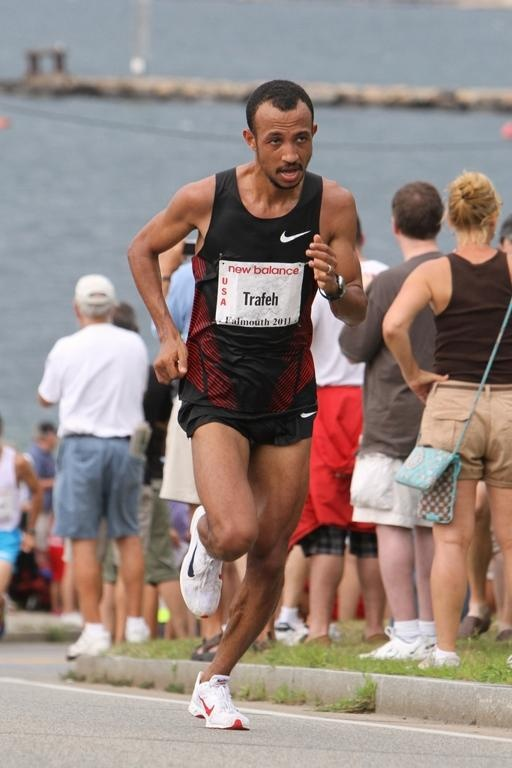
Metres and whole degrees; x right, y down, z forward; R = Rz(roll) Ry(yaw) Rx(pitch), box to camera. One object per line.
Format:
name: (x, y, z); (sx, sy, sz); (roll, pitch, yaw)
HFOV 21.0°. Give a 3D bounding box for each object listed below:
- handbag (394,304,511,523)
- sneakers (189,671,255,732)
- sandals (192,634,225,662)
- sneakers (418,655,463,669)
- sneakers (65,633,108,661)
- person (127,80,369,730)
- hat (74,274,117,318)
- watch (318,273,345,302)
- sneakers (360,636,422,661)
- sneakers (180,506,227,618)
handbag: (0.828, 0.115, 5.557); (0.466, 0.886, 0.263); (0, 10, -11)
sneakers: (-0.137, 1.072, 4.800); (0.121, 0.128, 0.289); (1, 4, -32)
sandals: (-0.232, 1.253, 6.703); (0.112, 0.119, 0.302); (-2, -9, 3)
sneakers: (0.736, 1.081, 5.457); (0.174, 0.063, 0.060); (1, -9, 16)
sneakers: (-0.876, 1.352, 7.224); (0.319, 0.130, 0.111); (-6, 5, 14)
person: (-0.016, 0.077, 4.718); (0.824, 2.194, 0.718); (1, 10, -4)
hat: (-0.932, -0.501, 7.909); (0.210, 0.251, 0.261); (1, -16, -6)
watch: (0.247, -0.326, 4.700); (0.097, 0.050, 0.071); (-30, -3, 28)
sneakers: (0.599, 1.141, 6.087); (0.323, 0.116, 0.099); (-2, -12, -5)
sneakers: (-0.181, 0.635, 4.931); (0.166, 0.395, 0.185); (-5, 19, -24)
